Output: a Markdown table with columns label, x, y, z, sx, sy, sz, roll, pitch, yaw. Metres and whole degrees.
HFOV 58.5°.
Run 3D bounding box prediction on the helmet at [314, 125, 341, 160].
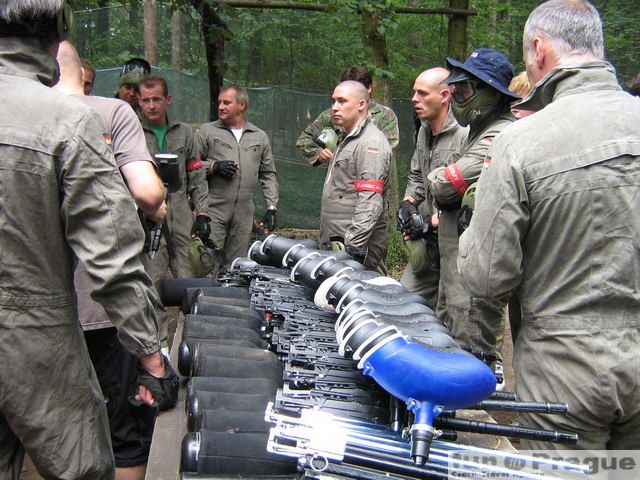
| label | x | y | z | sx | sy | sz | roll | pitch | yaw |
| --- | --- | --- | --- | --- | --- | --- | --- | --- | --- |
| helmet | 0.095 | -1.117 | 6.593 | 0.279 | 0.402 | 0.545 | 10 | 27 | -10 |

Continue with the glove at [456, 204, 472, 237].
| label | x | y | z | sx | sy | sz | roll | pitch | yaw |
| --- | --- | --- | --- | --- | --- | --- | --- | --- | --- |
| glove | 0.953 | -0.129 | 3.756 | 0.062 | 0.195 | 0.147 | 8 | 0 | 6 |

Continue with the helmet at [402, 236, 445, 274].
| label | x | y | z | sx | sy | sz | roll | pitch | yaw |
| --- | --- | --- | --- | --- | --- | --- | --- | --- | --- |
| helmet | 0.895 | 0.135 | 5.073 | 0.336 | 0.377 | 0.247 | -3 | 5 | 30 |

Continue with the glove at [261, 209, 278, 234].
| label | x | y | z | sx | sy | sz | roll | pitch | yaw |
| --- | --- | --- | --- | --- | --- | --- | --- | --- | --- |
| glove | -0.626 | -0.193 | 7.205 | 0.154 | 0.371 | 0.118 | 5 | -4 | 26 |

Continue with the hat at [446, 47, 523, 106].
| label | x | y | z | sx | sy | sz | roll | pitch | yaw |
| --- | --- | --- | --- | --- | --- | --- | --- | --- | --- |
| hat | 1.180 | -1.126 | 4.084 | 0.369 | 0.203 | 0.416 | 34 | 20 | 29 |

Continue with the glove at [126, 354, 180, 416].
| label | x | y | z | sx | sy | sz | roll | pitch | yaw |
| --- | --- | --- | --- | --- | --- | --- | --- | --- | --- |
| glove | -0.773 | 0.722 | 2.703 | 0.161 | 0.170 | 0.329 | -19 | 26 | -4 |

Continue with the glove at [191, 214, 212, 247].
| label | x | y | z | sx | sy | sz | roll | pitch | yaw |
| --- | --- | --- | --- | --- | --- | --- | --- | --- | --- |
| glove | -1.304 | -0.122 | 6.319 | 0.130 | 0.318 | 0.261 | -16 | -37 | 39 |

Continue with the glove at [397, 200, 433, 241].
| label | x | y | z | sx | sy | sz | roll | pitch | yaw |
| --- | --- | --- | --- | --- | --- | --- | --- | --- | --- |
| glove | 0.789 | -0.151 | 4.866 | 0.165 | 0.248 | 0.318 | -34 | -28 | 31 |
